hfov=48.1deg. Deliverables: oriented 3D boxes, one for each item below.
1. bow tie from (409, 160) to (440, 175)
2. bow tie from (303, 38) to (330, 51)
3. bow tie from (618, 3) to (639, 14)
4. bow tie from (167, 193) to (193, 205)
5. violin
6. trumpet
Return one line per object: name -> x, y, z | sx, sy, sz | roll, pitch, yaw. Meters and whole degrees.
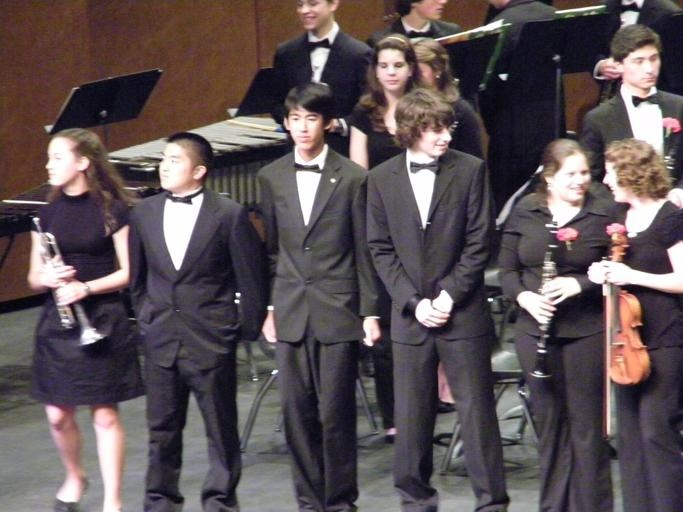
bow tie -> 0.379, -0.414, 3.502 | 0.179, 0.059, 0.045 | -2, 3, 27
bow tie -> -0.144, -1.401, 5.034 | 0.200, 0.072, 0.042 | 4, 12, 39
bow tie -> 1.896, -1.642, 5.021 | 0.135, 0.068, 0.032 | 3, 12, 37
bow tie -> -0.770, -0.275, 3.604 | 0.147, 0.049, 0.042 | 0, 9, 20
violin -> 1.175, 0.317, 3.173 | 0.162, 0.371, 0.216 | -4, 9, -1
trumpet -> -1.258, 0.136, 3.658 | 0.373, 0.608, 0.323 | 1, 22, 2
